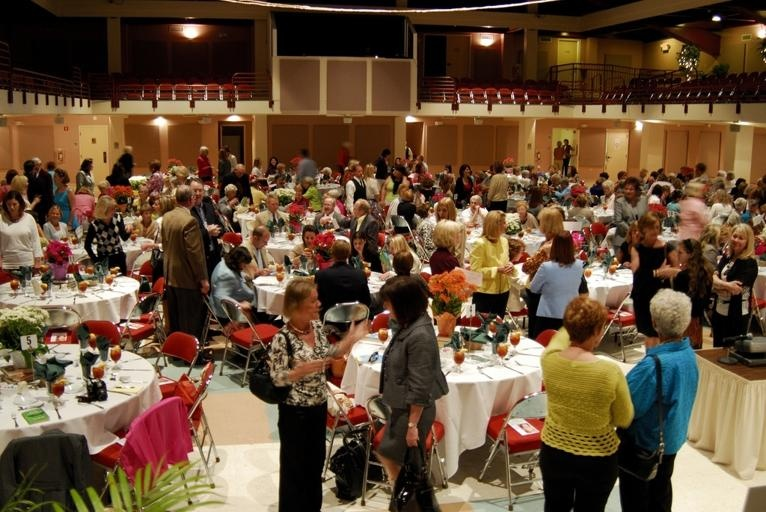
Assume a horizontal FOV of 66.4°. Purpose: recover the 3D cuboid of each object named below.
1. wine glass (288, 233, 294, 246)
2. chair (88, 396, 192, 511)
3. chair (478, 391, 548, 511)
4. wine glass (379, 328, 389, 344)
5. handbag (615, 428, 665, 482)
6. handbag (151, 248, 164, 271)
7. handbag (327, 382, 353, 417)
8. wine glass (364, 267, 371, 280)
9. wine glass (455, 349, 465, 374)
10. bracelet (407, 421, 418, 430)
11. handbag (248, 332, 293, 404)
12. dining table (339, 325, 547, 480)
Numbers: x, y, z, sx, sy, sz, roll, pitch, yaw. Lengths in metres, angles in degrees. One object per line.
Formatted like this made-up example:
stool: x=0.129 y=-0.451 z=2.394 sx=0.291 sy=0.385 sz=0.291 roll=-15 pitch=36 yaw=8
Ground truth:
wine glass: x=-1.680 y=-0.331 z=10.793 sx=0.142 sy=0.244 sz=0.149 roll=0 pitch=0 yaw=-9
chair: x=-1.926 y=1.540 z=4.619 sx=0.667 sy=0.893 sz=0.619 roll=31 pitch=27 yaw=20
chair: x=1.249 y=1.720 z=5.642 sx=0.592 sy=1.108 sz=0.783 roll=0 pitch=7 yaw=13
wine glass: x=-0.005 y=0.823 z=6.123 sx=0.117 sy=0.187 sz=0.120 roll=-4 pitch=11 yaw=-19
handbag: x=1.918 y=1.460 z=4.376 sx=0.168 sy=0.383 sz=0.317 roll=1 pitch=25 yaw=-39
handbag: x=-3.456 y=0.042 z=9.154 sx=0.246 sy=0.369 sz=0.342 roll=-1 pitch=-11 yaw=-15
handbag: x=-0.436 y=1.387 z=5.768 sx=0.225 sy=0.118 sz=0.388 roll=-3 pitch=38 yaw=-43
wine glass: x=-0.225 y=0.259 z=8.425 sx=0.120 sy=0.145 sz=0.124 roll=-1 pitch=2 yaw=-5
wine glass: x=0.735 y=0.989 z=5.633 sx=0.088 sy=0.212 sz=0.219 roll=0 pitch=6 yaw=10
bracelet: x=0.235 y=1.284 z=4.487 sx=0.069 sy=0.059 sz=0.043 roll=-3 pitch=7 yaw=-14
handbag: x=-0.872 y=0.964 z=4.597 sx=0.311 sy=0.445 sz=0.210 roll=-2 pitch=7 yaw=-8
dining table: x=0.600 y=1.270 z=5.788 sx=1.410 sy=0.834 sz=1.496 roll=2 pitch=2 yaw=-6
